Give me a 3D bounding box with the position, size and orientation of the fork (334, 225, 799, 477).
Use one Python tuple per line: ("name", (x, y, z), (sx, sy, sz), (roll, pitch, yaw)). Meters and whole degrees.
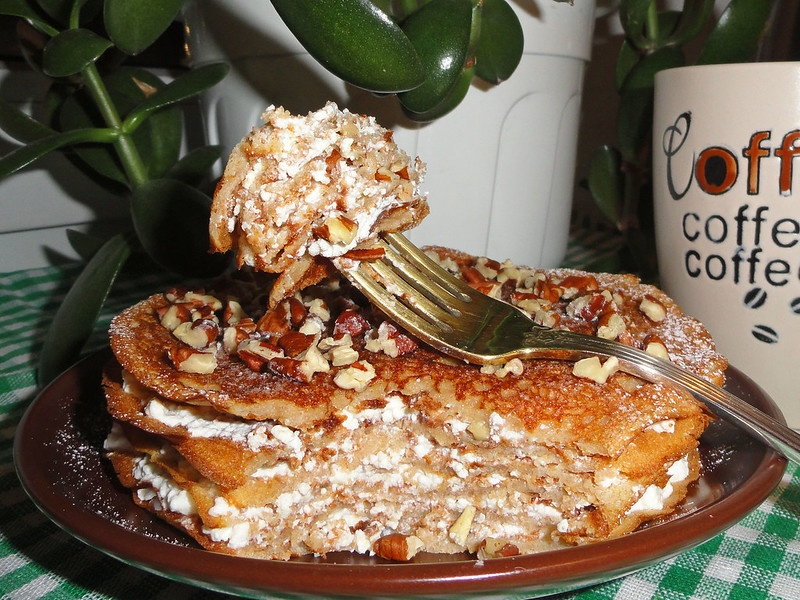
("fork", (0.273, 0.093, 1.391), (0.719, 0.101, 0.103), (26, 62, 6))
